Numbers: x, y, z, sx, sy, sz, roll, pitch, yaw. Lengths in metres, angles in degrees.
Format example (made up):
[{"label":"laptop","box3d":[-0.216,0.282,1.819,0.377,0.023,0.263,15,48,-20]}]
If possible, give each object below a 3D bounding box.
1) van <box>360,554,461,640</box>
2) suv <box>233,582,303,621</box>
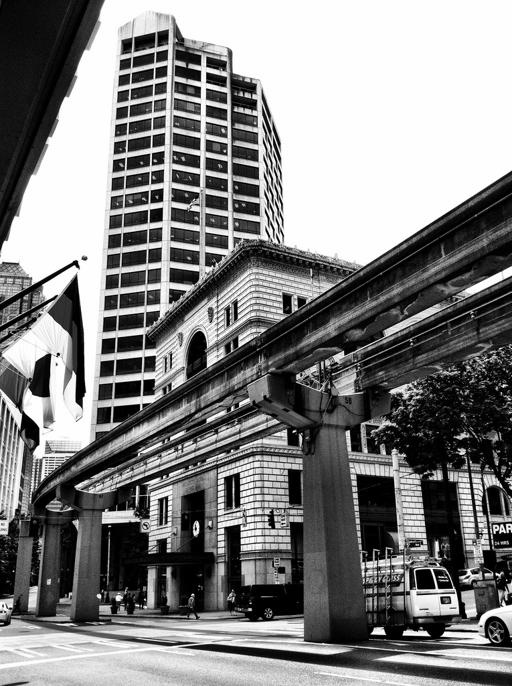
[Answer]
[{"label":"van","box3d":[4.760,7.412,19.092,1.829,1.797,3.434,9,-33,-16]},{"label":"suv","box3d":[0.819,13.378,33.142,3.243,1.697,1.473,17,-28,-40]}]
